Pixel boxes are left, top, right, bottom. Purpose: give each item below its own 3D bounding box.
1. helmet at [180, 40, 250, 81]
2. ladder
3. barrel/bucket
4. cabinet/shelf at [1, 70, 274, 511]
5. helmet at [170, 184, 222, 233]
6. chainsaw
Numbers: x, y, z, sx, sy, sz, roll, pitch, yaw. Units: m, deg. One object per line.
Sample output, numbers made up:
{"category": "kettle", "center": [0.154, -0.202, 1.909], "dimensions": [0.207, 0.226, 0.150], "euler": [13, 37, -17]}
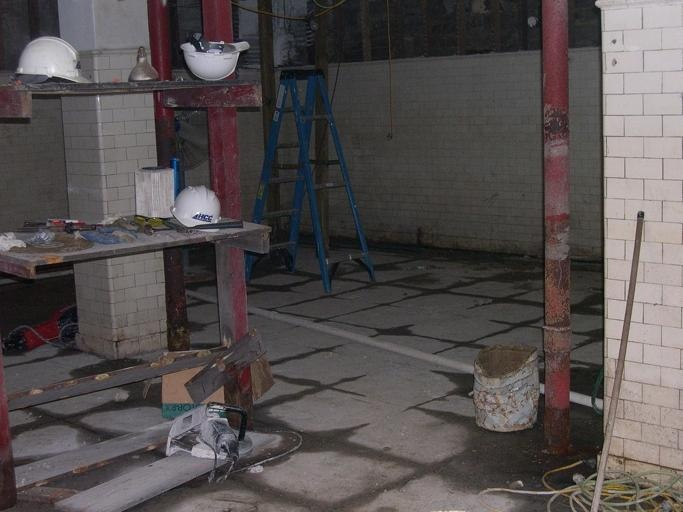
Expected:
{"category": "helmet", "center": [-0.782, -1.207, 4.310], "dimensions": [0.390, 0.242, 0.506], "euler": [14, 17, 43]}
{"category": "ladder", "center": [-0.418, -1.219, 8.967], "dimensions": [1.479, 3.631, 1.382], "euler": [-8, 10, -40]}
{"category": "barrel/bucket", "center": [1.170, 0.871, 4.855], "dimensions": [0.535, 0.532, 0.563], "euler": [-2, 11, 0]}
{"category": "cabinet/shelf", "center": [-1.249, 0.005, 4.587], "dimensions": [1.627, 2.337, 2.453], "euler": [1, 13, 11]}
{"category": "helmet", "center": [-0.936, -0.306, 4.355], "dimensions": [0.287, 0.207, 0.249], "euler": [-4, 33, -29]}
{"category": "chainsaw", "center": [-0.827, 1.115, 4.381], "dimensions": [0.342, 0.250, 0.500], "euler": [-5, 17, -40]}
